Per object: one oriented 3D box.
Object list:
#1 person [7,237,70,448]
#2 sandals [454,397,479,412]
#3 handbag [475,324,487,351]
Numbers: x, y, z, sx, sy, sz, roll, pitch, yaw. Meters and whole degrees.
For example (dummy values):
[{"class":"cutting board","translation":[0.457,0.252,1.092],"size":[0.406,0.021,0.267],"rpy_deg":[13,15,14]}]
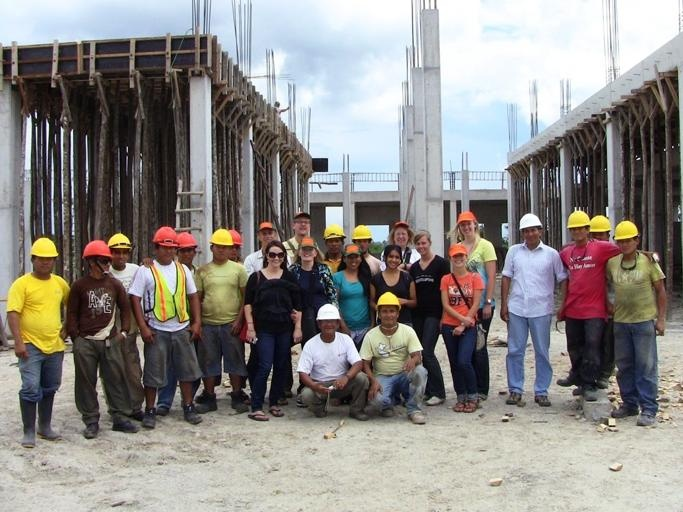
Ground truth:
[{"class":"person","translation":[-3.560,1.030,12.284],"size":[0.719,2.449,0.335],"rpy_deg":[-1,-1,-28]},{"class":"sandals","translation":[1.580,1.901,13.295],"size":[0.272,0.113,0.150],"rpy_deg":[6,-6,-21]},{"class":"handbag","translation":[1.760,1.051,13.282],"size":[0.134,0.398,0.316],"rpy_deg":[-1,-2,14]}]
